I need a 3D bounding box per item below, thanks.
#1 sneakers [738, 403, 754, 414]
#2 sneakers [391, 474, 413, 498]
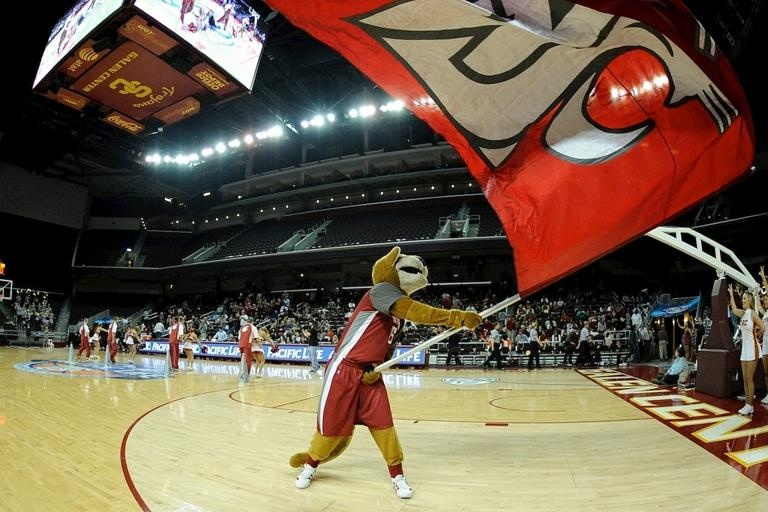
[{"bbox_3d":[5.958,2.493,7.761,0.372,0.148,0.120,4,-7,-12],"label":"sneakers"},{"bbox_3d":[0.196,2.520,5.236,0.232,0.219,0.149,0,-10,7],"label":"sneakers"}]
